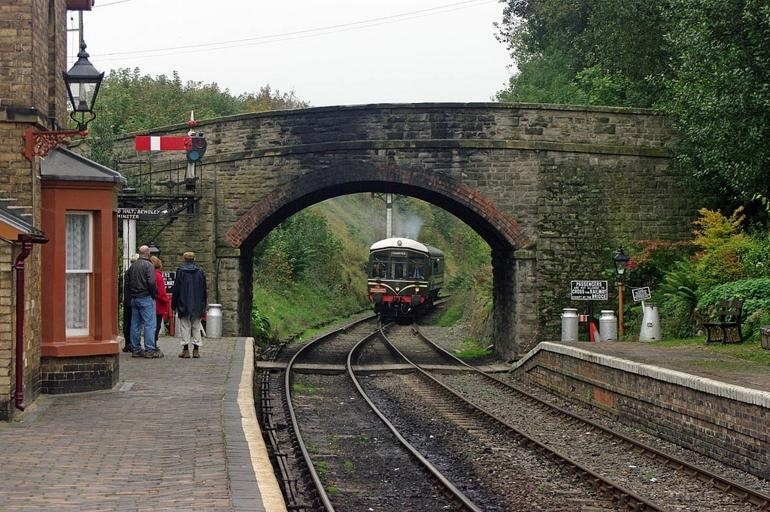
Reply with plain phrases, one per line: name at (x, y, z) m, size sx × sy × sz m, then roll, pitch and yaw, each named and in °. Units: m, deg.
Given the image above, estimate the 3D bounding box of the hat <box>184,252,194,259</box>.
hat at (-3.991, -0.006, 18.255) m, size 0.190 × 0.179 × 0.236 m, roll 0°, pitch 5°, yaw -11°

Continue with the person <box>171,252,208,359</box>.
person at (-4.102, 1.037, 18.728) m, size 0.709 × 2.312 × 0.996 m, roll -2°, pitch 7°, yaw -13°

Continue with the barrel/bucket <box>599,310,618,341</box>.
barrel/bucket at (5.868, 1.800, 23.306) m, size 0.452 × 0.749 × 0.589 m, roll 1°, pitch 7°, yaw 13°

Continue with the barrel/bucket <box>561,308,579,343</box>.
barrel/bucket at (4.982, 1.861, 23.946) m, size 0.441 × 0.862 × 0.750 m, roll 1°, pitch 7°, yaw 12°

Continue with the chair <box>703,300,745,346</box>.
chair at (7.531, 1.481, 19.889) m, size 0.726 × 0.864 × 0.675 m, roll -5°, pitch 0°, yaw -12°

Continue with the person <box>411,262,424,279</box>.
person at (1.421, 0.656, 39.387) m, size 0.852 × 0.809 × 0.474 m, roll -2°, pitch 0°, yaw 7°
